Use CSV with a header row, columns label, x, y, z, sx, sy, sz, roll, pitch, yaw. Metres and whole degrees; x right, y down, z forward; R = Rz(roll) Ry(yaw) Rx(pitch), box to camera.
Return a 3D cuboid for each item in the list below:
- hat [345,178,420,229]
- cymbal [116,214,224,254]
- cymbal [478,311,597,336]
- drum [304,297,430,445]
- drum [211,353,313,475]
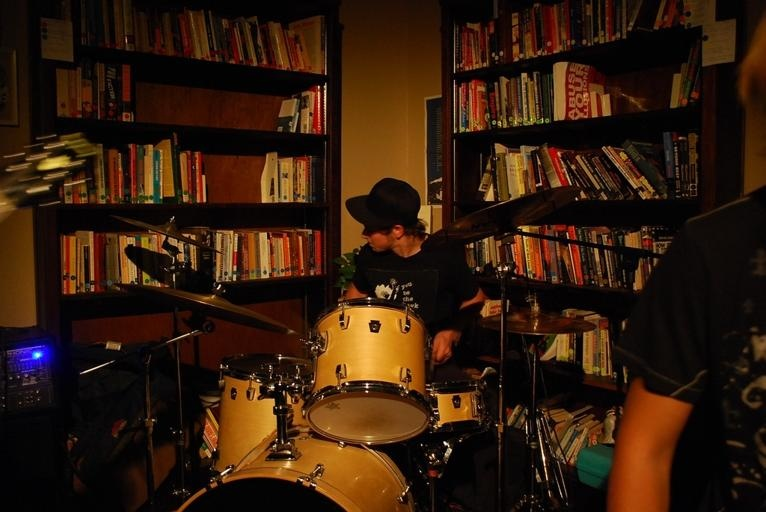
label,x,y,z,sx,sy,sz,roll,pitch,yaw
hat,0.002,-0.309,3.993,0.528,0.301,0.627,-5,3,-19
cymbal,-1.230,-0.148,3.783,0.396,0.222,0.669,1,-5,-12
cymbal,0.858,0.357,3.527,0.457,0.116,0.434,0,-5,0
drum,-0.126,0.459,3.185,0.557,0.457,0.564,1,-7,-2
drum,-0.627,0.818,3.376,0.538,0.571,0.553,2,3,8
